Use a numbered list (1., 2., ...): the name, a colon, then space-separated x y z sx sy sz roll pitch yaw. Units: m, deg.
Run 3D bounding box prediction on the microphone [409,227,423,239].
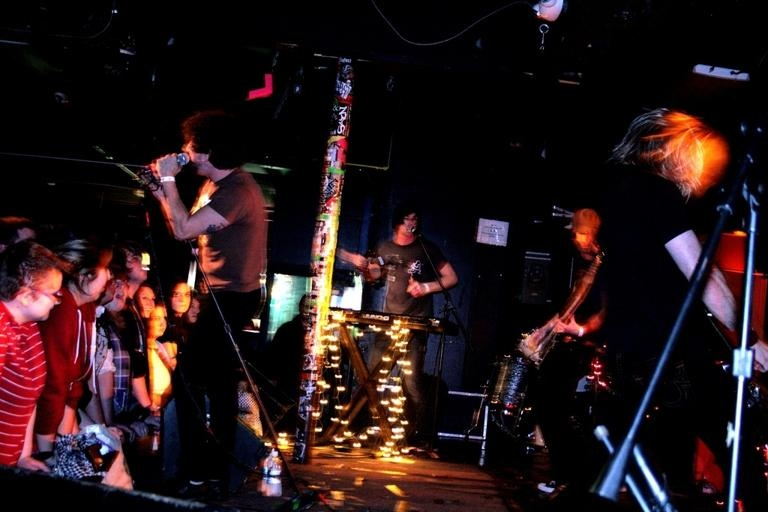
1. microphone: 0.397 -0.298 8.026 0.113 0.146 0.152 -4 -6 18
